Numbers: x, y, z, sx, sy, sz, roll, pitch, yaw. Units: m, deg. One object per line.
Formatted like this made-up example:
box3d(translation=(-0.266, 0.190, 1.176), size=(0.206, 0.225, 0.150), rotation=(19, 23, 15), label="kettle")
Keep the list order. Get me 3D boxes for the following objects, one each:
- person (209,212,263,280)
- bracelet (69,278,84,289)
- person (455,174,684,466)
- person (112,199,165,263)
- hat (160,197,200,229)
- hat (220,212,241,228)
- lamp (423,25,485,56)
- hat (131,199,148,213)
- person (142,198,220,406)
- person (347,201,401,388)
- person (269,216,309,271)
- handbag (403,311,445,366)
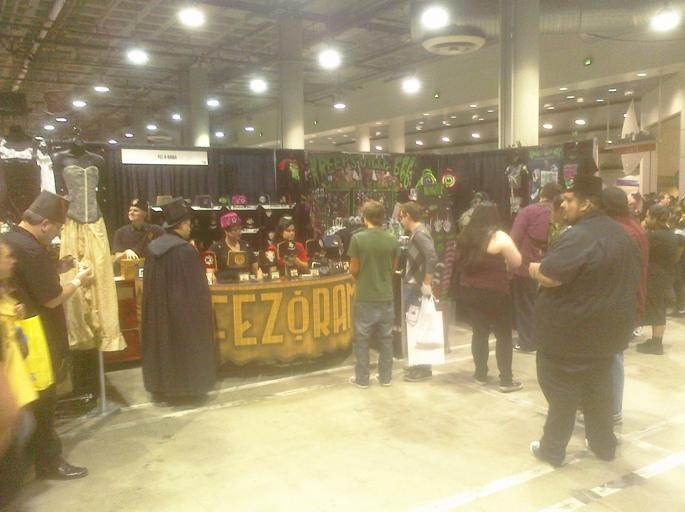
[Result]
box3d(translation=(-1.348, -0.013, 6.803), size=(0.599, 1.058, 0.631), rotation=(-3, 15, 14), label="person")
box3d(translation=(-2.354, 0.238, 4.631), size=(0.084, 0.067, 0.090), rotation=(-4, -9, -1), label="bracelet")
box3d(translation=(2.047, 0.584, 4.460), size=(0.809, 2.495, 0.444), rotation=(-1, 10, -2), label="person")
box3d(translation=(-2.882, -0.160, 7.394), size=(0.752, 1.276, 0.607), rotation=(1, -8, -27), label="person")
box3d(translation=(-1.830, -0.478, 5.898), size=(0.322, 0.182, 0.331), rotation=(-23, 27, -1), label="hat")
box3d(translation=(-1.509, -0.479, 7.026), size=(0.269, 0.168, 0.289), rotation=(1, 11, 18), label="hat")
box3d(translation=(1.974, -3.869, 9.267), size=(1.041, 0.423, 0.648), rotation=(2, 12, 13), label="lamp")
box3d(translation=(-2.871, -0.707, 7.412), size=(0.200, 0.152, 0.207), rotation=(6, 0, 37), label="hat")
box3d(translation=(-1.855, 0.452, 5.801), size=(0.783, 2.116, 0.513), rotation=(-2, 11, -7), label="person")
box3d(translation=(0.365, 0.457, 6.087), size=(0.583, 2.130, 0.418), rotation=(-1, 10, 0), label="person")
box3d(translation=(-0.733, -0.132, 7.075), size=(0.495, 0.720, 1.002), rotation=(0, 12, 4), label="person")
box3d(translation=(0.943, 0.861, 5.981), size=(0.403, 0.783, 0.227), rotation=(0, 11, 2), label="handbag")
